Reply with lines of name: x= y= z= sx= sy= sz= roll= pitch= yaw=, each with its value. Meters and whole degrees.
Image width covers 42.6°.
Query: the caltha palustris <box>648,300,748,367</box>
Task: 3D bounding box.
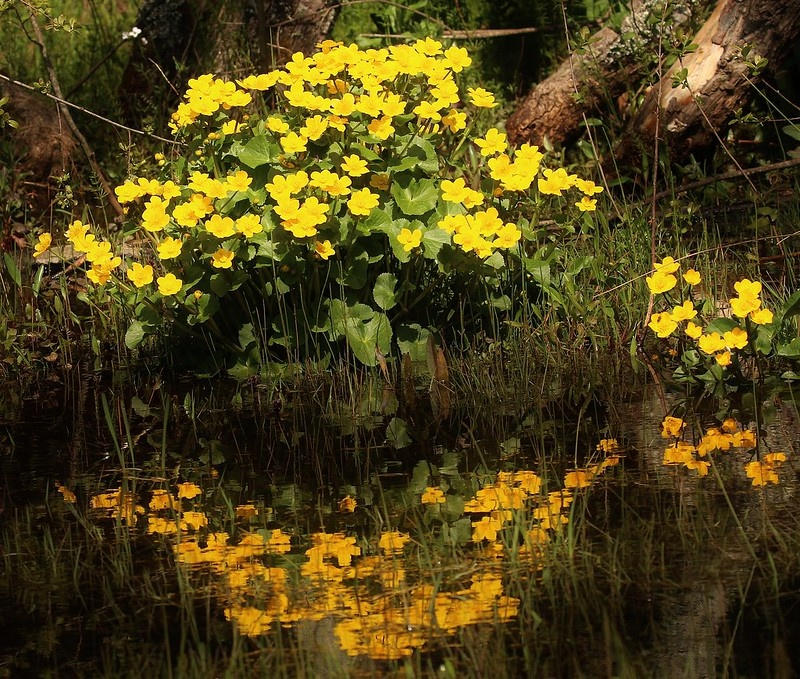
caltha palustris: x=1.019 y=-0.025 z=3.412 sx=0.312 sy=0.234 sz=0.397 roll=-1 pitch=7 yaw=30

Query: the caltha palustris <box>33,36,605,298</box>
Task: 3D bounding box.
caltha palustris: x=-0.396 y=-0.617 z=3.791 sx=1.494 sy=0.724 sz=1.222 roll=-17 pitch=34 yaw=-5

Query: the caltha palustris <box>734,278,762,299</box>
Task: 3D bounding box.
caltha palustris: x=1.135 y=-0.166 z=3.336 sx=0.079 sy=0.039 sz=0.082 roll=28 pitch=50 yaw=35

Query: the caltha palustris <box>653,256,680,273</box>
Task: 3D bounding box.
caltha palustris: x=0.893 y=-0.250 z=3.454 sx=0.094 sy=0.055 sz=0.081 roll=-2 pitch=-8 yaw=34

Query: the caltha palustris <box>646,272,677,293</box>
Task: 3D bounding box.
caltha palustris: x=0.881 y=-0.191 z=3.455 sx=0.086 sy=0.084 sz=0.233 roll=-3 pitch=6 yaw=16

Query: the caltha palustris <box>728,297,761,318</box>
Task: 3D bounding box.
caltha palustris: x=1.053 y=-0.087 z=3.156 sx=0.068 sy=0.032 sz=0.072 roll=-16 pitch=41 yaw=-24
